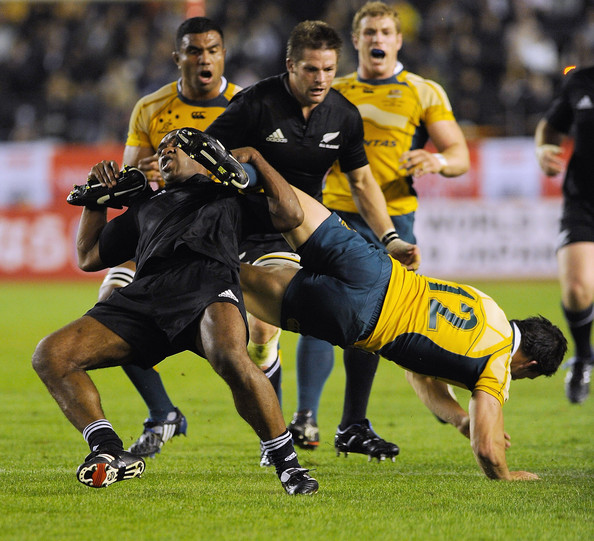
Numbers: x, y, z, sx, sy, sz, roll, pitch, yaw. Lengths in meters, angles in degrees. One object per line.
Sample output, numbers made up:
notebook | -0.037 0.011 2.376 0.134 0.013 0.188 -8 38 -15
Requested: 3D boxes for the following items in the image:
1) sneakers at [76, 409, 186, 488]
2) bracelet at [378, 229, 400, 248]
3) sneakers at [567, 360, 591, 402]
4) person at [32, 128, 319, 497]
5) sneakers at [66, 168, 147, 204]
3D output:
sneakers | -0.659 0.779 3.793 0.580 0.166 0.225 -13 46 -34
bracelet | 0.521 -0.188 4.949 0.100 0.100 0.094 33 42 -15
sneakers | 2.094 0.802 6.588 0.150 0.159 0.372 0 42 24
person | -0.565 0.172 3.955 1.208 1.455 0.994 -2 9 -12
sneakers | -0.911 -0.398 4.297 0.366 0.133 0.172 -9 12 -2
